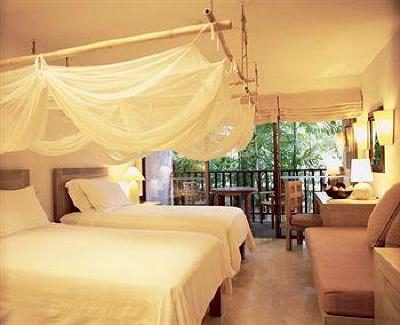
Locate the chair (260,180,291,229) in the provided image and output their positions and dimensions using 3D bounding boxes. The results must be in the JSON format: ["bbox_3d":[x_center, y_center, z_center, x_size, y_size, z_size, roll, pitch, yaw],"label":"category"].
[{"bbox_3d":[1.199,0.643,5.820,0.478,0.763,0.496,-8,2,8],"label":"chair"}]

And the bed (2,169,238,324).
[{"bbox_3d":[-0.736,0.749,2.891,1.587,1.151,1.276,0,-2,9],"label":"bed"}]

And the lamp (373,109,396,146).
[{"bbox_3d":[2.129,-0.394,3.964,0.172,0.427,0.246,2,7,6],"label":"lamp"}]

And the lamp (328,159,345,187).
[{"bbox_3d":[2.084,0.202,5.315,0.202,0.435,0.208,0,-4,-20],"label":"lamp"}]

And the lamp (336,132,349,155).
[{"bbox_3d":[2.251,-0.303,5.469,0.158,0.354,0.122,1,7,-1],"label":"lamp"}]

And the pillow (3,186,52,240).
[{"bbox_3d":[-1.743,0.508,3.444,0.093,0.344,0.350,-26,-6,30],"label":"pillow"}]

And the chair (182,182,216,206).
[{"bbox_3d":[-0.017,0.663,6.166,0.461,0.641,0.568,-3,0,15],"label":"chair"}]

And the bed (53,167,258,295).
[{"bbox_3d":[-0.494,0.687,4.328,1.925,1.185,1.354,0,0,10],"label":"bed"}]

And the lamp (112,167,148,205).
[{"bbox_3d":[-1.047,0.363,5.800,0.486,0.806,0.572,-2,0,45],"label":"lamp"}]

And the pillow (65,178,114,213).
[{"bbox_3d":[-1.485,0.393,4.327,0.110,0.415,0.379,-26,-16,29],"label":"pillow"}]

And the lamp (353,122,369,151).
[{"bbox_3d":[2.228,-0.360,4.743,0.205,0.383,0.164,4,8,25],"label":"lamp"}]
